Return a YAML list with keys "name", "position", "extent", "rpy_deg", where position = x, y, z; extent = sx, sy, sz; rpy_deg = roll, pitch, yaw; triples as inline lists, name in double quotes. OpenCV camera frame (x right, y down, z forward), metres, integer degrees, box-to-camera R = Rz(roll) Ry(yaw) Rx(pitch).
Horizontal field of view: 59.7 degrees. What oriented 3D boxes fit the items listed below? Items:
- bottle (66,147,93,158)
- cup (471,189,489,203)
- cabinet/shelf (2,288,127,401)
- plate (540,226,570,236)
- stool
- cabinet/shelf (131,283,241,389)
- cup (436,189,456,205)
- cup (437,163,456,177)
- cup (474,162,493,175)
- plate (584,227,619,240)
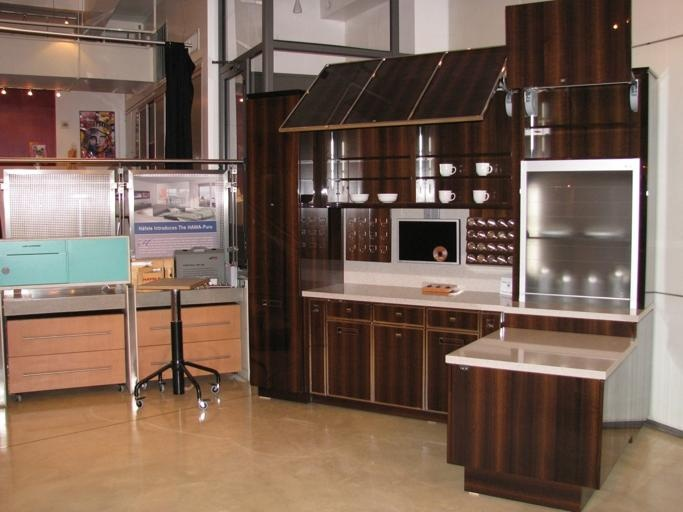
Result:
- name: "bottle"
  position: [-5.418, -2.171, 12.343]
  extent: [0.524, 0.229, 0.294]
  rpy_deg: [-4, 7, -25]
- name: "cup"
  position: [1.296, -0.561, 5.547]
  extent: [0.144, 0.113, 0.118]
  rpy_deg: [3, -1, 5]
- name: "cabinet/shelf"
  position: [-3.021, 0.665, 6.587]
  extent: [1.510, 1.173, 0.922]
  rpy_deg: [-1, 1, -22]
- name: "plate"
  position: [1.899, -0.226, 5.268]
  extent: [0.289, 0.119, 0.019]
  rpy_deg: [1, 7, 19]
- name: "stool"
  position: [-1.744, 0.881, 6.298]
  extent: [0.879, 1.220, 0.863]
  rpy_deg: [-1, 0, -6]
- name: "cabinet/shelf"
  position: [-1.770, 0.707, 7.007]
  extent: [1.607, 1.341, 0.929]
  rpy_deg: [-1, 0, -29]
- name: "cup"
  position: [1.005, -0.571, 5.690]
  extent: [0.144, 0.106, 0.116]
  rpy_deg: [2, -2, 5]
- name: "cup"
  position: [1.008, -0.825, 5.671]
  extent: [0.142, 0.110, 0.114]
  rpy_deg: [3, 3, 4]
- name: "cup"
  position: [1.329, -0.815, 5.547]
  extent: [0.139, 0.103, 0.113]
  rpy_deg: [3, 2, 11]
- name: "plate"
  position: [2.257, -0.196, 5.110]
  extent: [0.298, 0.102, 0.039]
  rpy_deg: [1, 7, 20]
